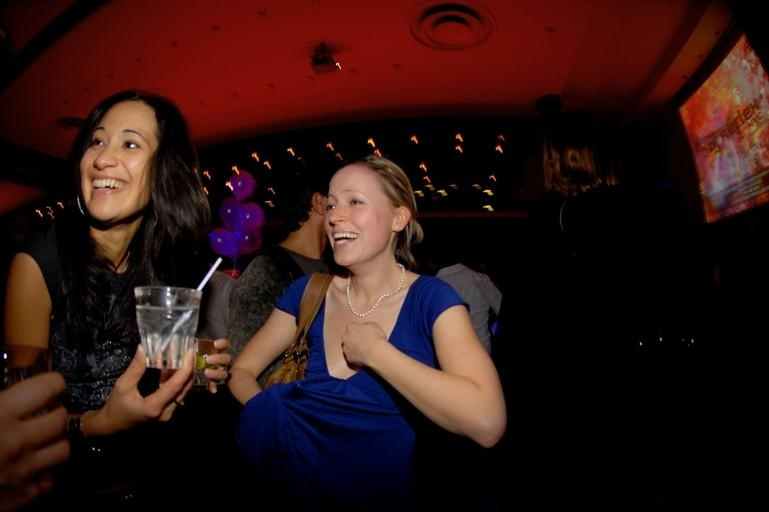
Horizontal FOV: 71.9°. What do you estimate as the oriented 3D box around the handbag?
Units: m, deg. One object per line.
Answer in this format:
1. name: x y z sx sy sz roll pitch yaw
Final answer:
1. handbag: -0.569 0.506 3.822 0.191 0.770 0.457 28 -21 -16
